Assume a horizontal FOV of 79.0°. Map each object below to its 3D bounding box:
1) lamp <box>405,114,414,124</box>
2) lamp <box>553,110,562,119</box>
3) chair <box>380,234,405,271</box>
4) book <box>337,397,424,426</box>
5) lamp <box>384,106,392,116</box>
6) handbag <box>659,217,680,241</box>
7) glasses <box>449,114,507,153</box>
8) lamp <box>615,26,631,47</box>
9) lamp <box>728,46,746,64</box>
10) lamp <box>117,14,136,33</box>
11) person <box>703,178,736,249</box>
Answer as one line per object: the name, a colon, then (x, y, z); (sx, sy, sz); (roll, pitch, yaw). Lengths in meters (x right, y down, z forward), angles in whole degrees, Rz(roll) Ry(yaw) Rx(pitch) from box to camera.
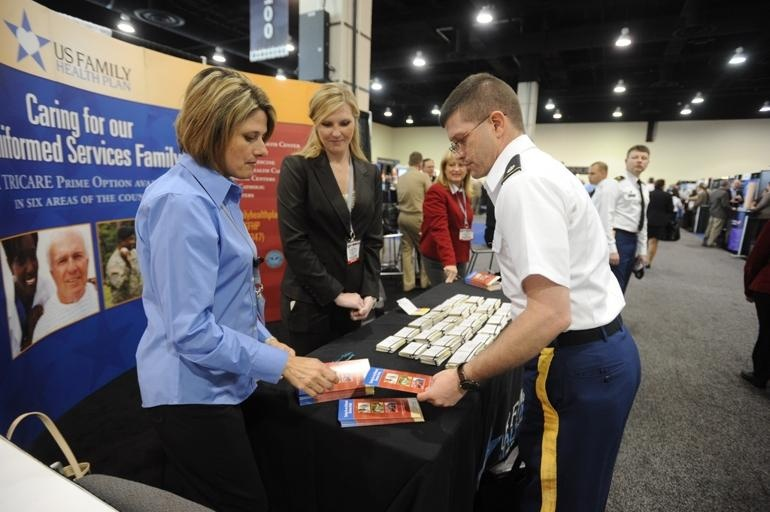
lamp: (0.815, -4.983, 16.916); (0.316, 0.338, 0.325); (8, 1, 13)
lamp: (5.417, -4.500, 14.752); (0.220, 0.226, 0.210); (4, -2, 6)
chair: (0.102, -0.089, 7.553); (0.490, 0.541, 0.497); (-1, 9, 3)
book: (-0.018, 0.709, 2.132); (0.274, 0.041, 0.151); (1, 21, -3)
lamp: (0.081, -4.911, 15.715); (0.246, 0.260, 0.252); (-11, -15, 38)
handbag: (5.309, -0.510, 8.797); (0.256, 0.405, 0.655); (1, 10, 23)
glasses: (0.418, -0.553, 2.204); (0.157, 0.048, 0.153); (-40, -3, 2)
lamp: (3.923, -3.642, 7.696); (0.200, 0.352, 0.516); (5, 12, 28)
lamp: (6.057, -3.485, 8.051); (0.199, 0.250, 0.489); (7, 12, 33)
lamp: (-4.036, -3.598, 7.281); (0.238, 0.243, 0.659); (-5, 11, -24)
person: (7.047, -0.916, 9.956); (0.413, 1.397, 0.711); (7, 13, 34)
